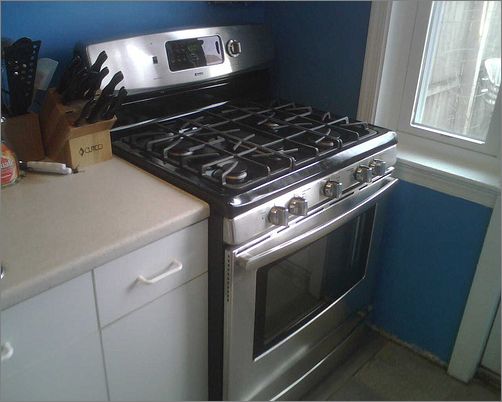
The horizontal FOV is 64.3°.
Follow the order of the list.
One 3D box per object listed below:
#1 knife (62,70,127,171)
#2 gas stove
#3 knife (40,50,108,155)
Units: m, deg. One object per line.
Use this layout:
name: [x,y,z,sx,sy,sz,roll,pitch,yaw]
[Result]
knife: [-0.512,-0.252,1.276,0.118,0.328,0.142,-15,59,-47]
gas stove: [0.010,-0.195,1.516,0.930,0.219,0.669,-24,37,-32]
knife: [-0.569,-0.303,1.283,0.112,0.372,0.113,42,32,6]
